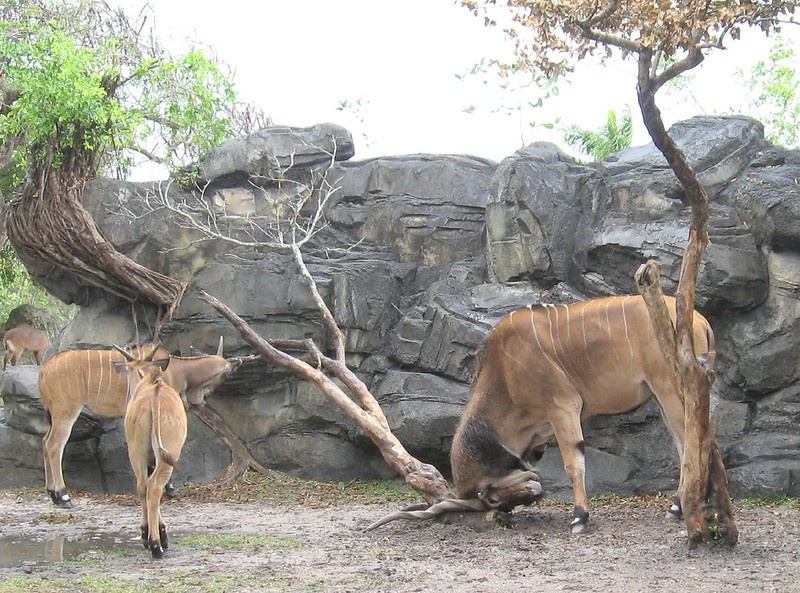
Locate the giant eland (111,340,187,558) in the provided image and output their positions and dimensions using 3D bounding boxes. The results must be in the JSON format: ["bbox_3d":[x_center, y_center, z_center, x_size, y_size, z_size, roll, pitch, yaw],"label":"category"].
[{"bbox_3d":[-2.383,1.463,8.856,0.564,1.925,0.952,-2,2,-19],"label":"giant eland"}]
